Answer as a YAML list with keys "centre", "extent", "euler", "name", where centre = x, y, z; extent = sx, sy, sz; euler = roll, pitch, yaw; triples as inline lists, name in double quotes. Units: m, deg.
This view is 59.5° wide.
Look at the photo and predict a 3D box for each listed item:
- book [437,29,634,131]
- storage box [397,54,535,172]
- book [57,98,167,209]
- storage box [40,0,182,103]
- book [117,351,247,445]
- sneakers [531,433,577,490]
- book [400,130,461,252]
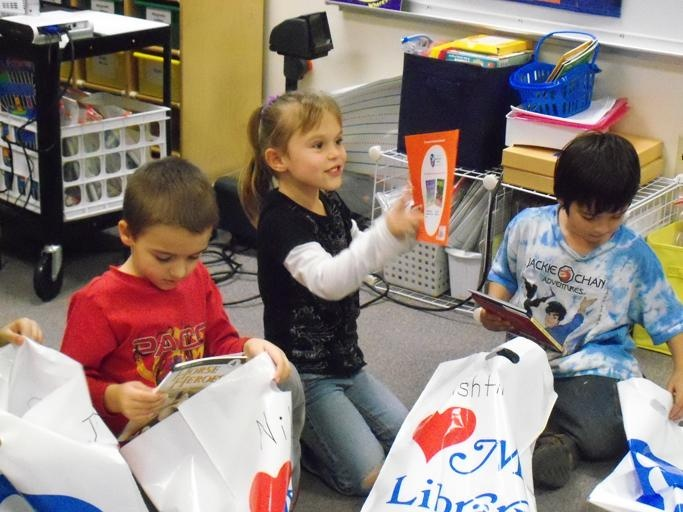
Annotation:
- centre: [0.809, -0.699, 2.288]
  extent: [0.294, 0.262, 0.322]
  euler: [19, 29, 28]
  name: "book"
- centre: [0.502, -0.616, 2.555]
  extent: [0.456, 0.484, 0.479]
  euler: [9, 18, 4]
  name: "storage box"
- centre: [-0.952, -0.422, 2.510]
  extent: [0.433, 0.295, 0.435]
  euler: [-10, 17, -37]
  name: "book"
- centre: [-1.021, -0.942, 2.721]
  extent: [0.644, 0.455, 0.355]
  euler: [28, 37, 35]
  name: "storage box"
- centre: [-0.320, 0.292, 1.200]
  extent: [0.231, 0.024, 0.213]
  euler: [-35, 1, 39]
  name: "book"
- centre: [0.551, 0.531, 1.553]
  extent: [0.135, 0.108, 0.107]
  euler: [7, 26, 5]
  name: "sneakers"
- centre: [0.188, -0.171, 1.303]
  extent: [0.096, 0.232, 0.245]
  euler: [2, 26, -4]
  name: "book"
